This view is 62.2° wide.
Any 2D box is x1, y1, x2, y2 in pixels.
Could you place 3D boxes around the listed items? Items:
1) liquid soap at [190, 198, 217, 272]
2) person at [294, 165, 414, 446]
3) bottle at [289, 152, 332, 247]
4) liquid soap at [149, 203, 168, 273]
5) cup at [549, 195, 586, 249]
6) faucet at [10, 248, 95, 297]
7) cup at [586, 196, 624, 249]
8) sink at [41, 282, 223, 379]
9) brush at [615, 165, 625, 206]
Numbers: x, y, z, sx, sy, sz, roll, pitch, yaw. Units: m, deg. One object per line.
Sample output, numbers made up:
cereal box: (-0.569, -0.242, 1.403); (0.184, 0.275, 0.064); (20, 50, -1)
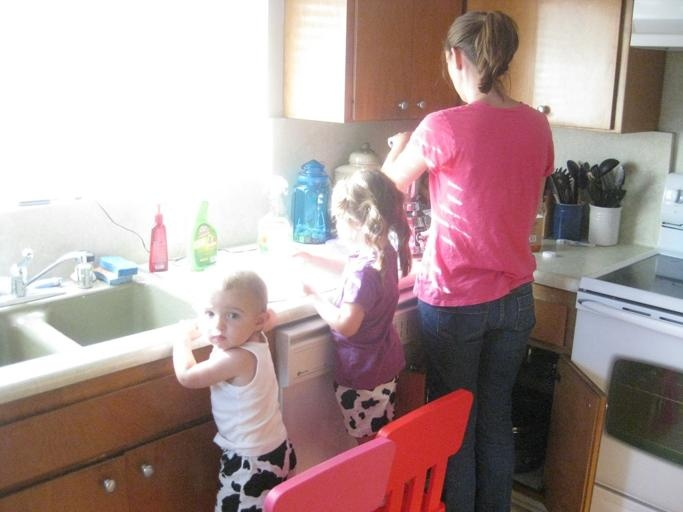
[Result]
liquid soap: (-0.532, -0.080, 2.174); (0.044, 0.262, 0.108); (5, 16, 28)
person: (0.074, 0.208, 1.910); (0.360, 0.990, 0.200); (-11, 16, -29)
bottle: (-0.133, -0.258, 2.685); (0.289, 0.507, 0.304); (1, 13, 0)
liquid soap: (-0.703, -0.050, 2.153); (0.073, 0.215, 0.071); (-6, 14, -11)
cup: (1.067, -0.150, 2.729); (0.178, 0.213, 0.182); (2, 8, 0)
faucet: (-1.006, 0.035, 1.968); (0.266, 0.172, 0.195); (-12, 17, -30)
cup: (1.205, -0.139, 2.680); (0.168, 0.205, 0.170); (0, 11, 0)
sink: (-0.767, 0.224, 1.967); (0.304, 0.201, 0.293); (-17, 29, -42)
brush: (1.279, -0.323, 2.593); (0.045, 0.193, 0.111); (4, 16, 26)
